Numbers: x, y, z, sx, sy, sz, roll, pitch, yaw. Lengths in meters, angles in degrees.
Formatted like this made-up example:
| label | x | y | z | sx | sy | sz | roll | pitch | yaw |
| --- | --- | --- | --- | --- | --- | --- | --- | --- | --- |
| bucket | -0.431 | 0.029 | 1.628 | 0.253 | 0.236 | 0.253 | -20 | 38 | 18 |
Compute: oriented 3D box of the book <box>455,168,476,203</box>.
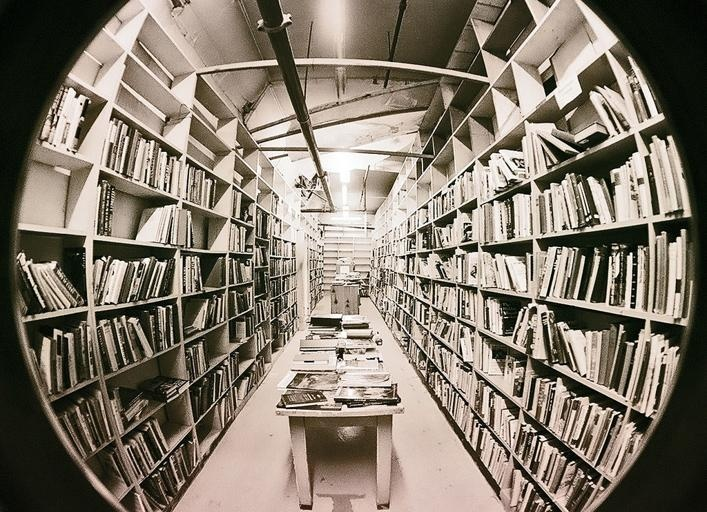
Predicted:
| label | x | y | z | sx | sy | sz | roll | pitch | yaw |
| --- | --- | --- | --- | --- | --- | --- | --- | --- | --- |
| book | 0.845 | -0.512 | 3.637 | 0.178 | 0.273 | 0.274 | 2 | -93 | 2 |

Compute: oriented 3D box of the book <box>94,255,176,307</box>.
| label | x | y | z | sx | sy | sz | roll | pitch | yaw |
| --- | --- | --- | --- | --- | --- | --- | --- | --- | --- |
| book | -1.330 | 0.136 | 2.851 | 0.248 | 0.445 | 0.280 | -3 | -88 | 0 |

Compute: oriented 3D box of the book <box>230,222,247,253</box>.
| label | x | y | z | sx | sy | sz | roll | pitch | yaw |
| --- | --- | --- | --- | --- | --- | --- | --- | --- | --- |
| book | -1.010 | -0.156 | 4.102 | 0.158 | 0.219 | 0.222 | -1 | -97 | -7 |

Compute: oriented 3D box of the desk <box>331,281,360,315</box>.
| label | x | y | z | sx | sy | sz | roll | pitch | yaw |
| --- | --- | --- | --- | --- | --- | --- | --- | --- | --- |
| desk | -0.133 | 0.665 | 7.455 | 0.403 | 0.611 | 0.617 | 0 | -95 | 5 |

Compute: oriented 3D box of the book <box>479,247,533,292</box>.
| label | x | y | z | sx | sy | sz | roll | pitch | yaw |
| --- | --- | --- | --- | --- | --- | --- | --- | --- | --- |
| book | 0.999 | 0.099 | 3.113 | 0.274 | 0.374 | 0.132 | 4 | -90 | 24 |

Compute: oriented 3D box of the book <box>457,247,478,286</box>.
| label | x | y | z | sx | sy | sz | roll | pitch | yaw |
| --- | --- | --- | --- | --- | --- | --- | --- | --- | --- |
| book | 0.833 | 0.086 | 3.570 | 0.175 | 0.256 | 0.267 | 1 | -92 | 9 |

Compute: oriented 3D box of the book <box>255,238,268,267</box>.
| label | x | y | z | sx | sy | sz | roll | pitch | yaw |
| --- | --- | --- | --- | --- | --- | --- | --- | --- | --- |
| book | -0.947 | -0.016 | 4.869 | 0.066 | 0.208 | 0.216 | -2 | -90 | 7 |

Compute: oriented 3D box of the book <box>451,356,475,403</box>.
| label | x | y | z | sx | sy | sz | roll | pitch | yaw |
| --- | --- | --- | --- | --- | --- | --- | --- | --- | --- |
| book | 0.808 | 0.909 | 3.517 | 0.060 | 0.147 | 0.202 | -22 | -117 | 30 |

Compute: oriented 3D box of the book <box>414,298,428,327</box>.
| label | x | y | z | sx | sy | sz | roll | pitch | yaw |
| --- | --- | --- | --- | --- | --- | --- | --- | --- | --- |
| book | 0.676 | 0.570 | 4.719 | 0.152 | 0.291 | 0.293 | 0 | -91 | 4 |

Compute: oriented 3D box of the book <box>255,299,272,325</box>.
| label | x | y | z | sx | sy | sz | roll | pitch | yaw |
| --- | --- | --- | --- | --- | --- | --- | --- | --- | --- |
| book | -0.907 | 0.551 | 4.718 | 0.062 | 0.176 | 0.180 | -2 | -92 | 10 |

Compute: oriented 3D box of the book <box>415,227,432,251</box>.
| label | x | y | z | sx | sy | sz | roll | pitch | yaw |
| --- | --- | --- | --- | --- | --- | --- | --- | --- | --- |
| book | 0.711 | -0.157 | 4.740 | 0.151 | 0.292 | 0.288 | 1 | -97 | -2 |

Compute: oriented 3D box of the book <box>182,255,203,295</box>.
| label | x | y | z | sx | sy | sz | roll | pitch | yaw |
| --- | --- | --- | --- | --- | --- | --- | --- | --- | --- |
| book | -1.145 | 0.139 | 3.334 | 0.146 | 0.271 | 0.268 | 0 | -96 | -1 |

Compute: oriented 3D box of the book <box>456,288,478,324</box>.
| label | x | y | z | sx | sy | sz | roll | pitch | yaw |
| --- | --- | --- | --- | --- | --- | --- | --- | --- | --- |
| book | 0.848 | 0.375 | 3.558 | 0.163 | 0.228 | 0.229 | 1 | -90 | 4 |

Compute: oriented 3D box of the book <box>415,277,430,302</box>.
| label | x | y | z | sx | sy | sz | roll | pitch | yaw |
| --- | --- | --- | --- | --- | --- | --- | --- | --- | --- |
| book | 0.689 | 0.328 | 4.778 | 0.040 | 0.155 | 0.155 | 4 | -88 | -23 |

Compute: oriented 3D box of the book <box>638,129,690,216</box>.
| label | x | y | z | sx | sy | sz | roll | pitch | yaw |
| --- | --- | --- | --- | --- | --- | --- | --- | --- | --- |
| book | 1.500 | -0.390 | 2.267 | 0.077 | 0.317 | 0.343 | -6 | -93 | 21 |

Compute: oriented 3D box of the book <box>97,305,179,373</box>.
| label | x | y | z | sx | sy | sz | roll | pitch | yaw |
| --- | --- | --- | --- | --- | --- | --- | --- | --- | --- |
| book | -1.295 | 0.477 | 2.884 | 0.279 | 0.502 | 0.303 | -12 | -88 | 1 |

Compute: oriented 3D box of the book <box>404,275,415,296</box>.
| label | x | y | z | sx | sy | sz | roll | pitch | yaw |
| --- | --- | --- | --- | --- | --- | --- | --- | --- | --- |
| book | 0.645 | 0.331 | 5.427 | 0.130 | 0.248 | 0.251 | 0 | -91 | 0 |

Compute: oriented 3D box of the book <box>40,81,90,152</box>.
| label | x | y | z | sx | sy | sz | roll | pitch | yaw |
| --- | --- | --- | --- | --- | --- | --- | --- | --- | --- |
| book | -1.556 | -0.739 | 2.564 | 0.147 | 0.245 | 0.344 | 11 | -88 | 0 |

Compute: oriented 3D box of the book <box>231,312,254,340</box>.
| label | x | y | z | sx | sy | sz | roll | pitch | yaw |
| --- | --- | --- | --- | --- | --- | --- | --- | --- | --- |
| book | -0.978 | 0.608 | 4.118 | 0.261 | 0.061 | 0.280 | 0 | -88 | -19 |

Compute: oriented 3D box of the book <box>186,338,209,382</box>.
| label | x | y | z | sx | sy | sz | roll | pitch | yaw |
| --- | --- | --- | --- | --- | --- | --- | --- | --- | --- |
| book | -1.102 | 0.725 | 3.309 | 0.047 | 0.181 | 0.192 | -3 | -97 | 11 |

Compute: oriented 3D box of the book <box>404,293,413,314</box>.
| label | x | y | z | sx | sy | sz | roll | pitch | yaw |
| --- | --- | --- | --- | --- | --- | --- | --- | --- | --- |
| book | 0.629 | 0.547 | 5.411 | 0.141 | 0.207 | 0.207 | 0 | -92 | -2 |
